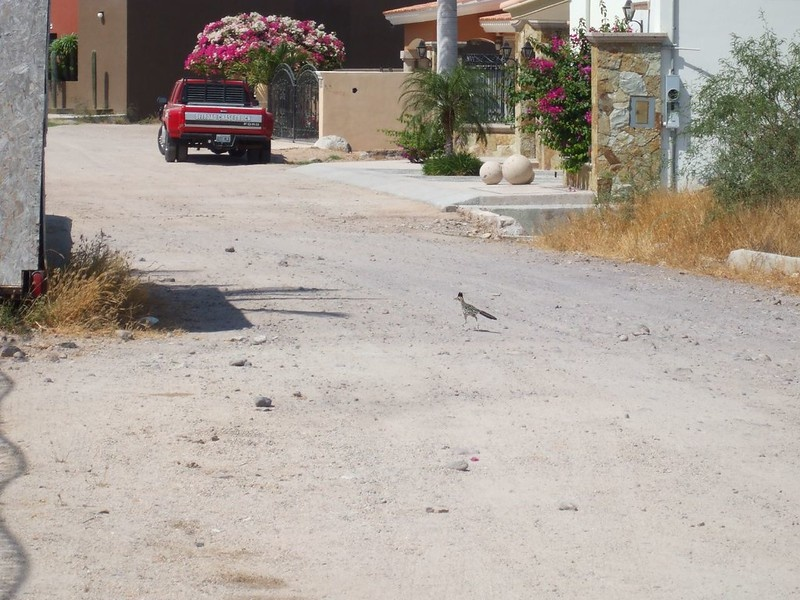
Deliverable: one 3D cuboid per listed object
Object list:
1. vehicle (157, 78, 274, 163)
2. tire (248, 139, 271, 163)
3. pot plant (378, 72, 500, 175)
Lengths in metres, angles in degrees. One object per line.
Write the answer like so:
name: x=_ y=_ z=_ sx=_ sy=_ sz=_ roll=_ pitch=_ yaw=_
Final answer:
vehicle: x=-4.838 y=-4.604 z=27.335 sx=2.624 sy=2.188 sz=2.945 roll=-9 pitch=18 yaw=-35
tire: x=-3.724 y=-3.958 z=27.756 sx=0.250 sy=0.579 sz=0.569 roll=-3 pitch=7 yaw=-29
pot plant: x=0.924 y=-4.390 z=25.583 sx=2.082 sy=2.643 sz=4.556 roll=1 pitch=15 yaw=-1
